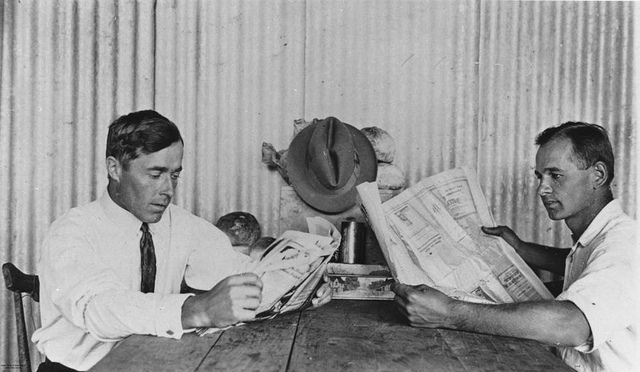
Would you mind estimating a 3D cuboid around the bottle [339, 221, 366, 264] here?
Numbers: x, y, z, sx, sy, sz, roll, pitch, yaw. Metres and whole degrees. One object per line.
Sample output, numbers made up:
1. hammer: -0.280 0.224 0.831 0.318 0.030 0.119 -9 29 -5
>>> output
1. bottle: 0.197 0.360 4.773 0.146 0.274 0.236 -2 12 16
